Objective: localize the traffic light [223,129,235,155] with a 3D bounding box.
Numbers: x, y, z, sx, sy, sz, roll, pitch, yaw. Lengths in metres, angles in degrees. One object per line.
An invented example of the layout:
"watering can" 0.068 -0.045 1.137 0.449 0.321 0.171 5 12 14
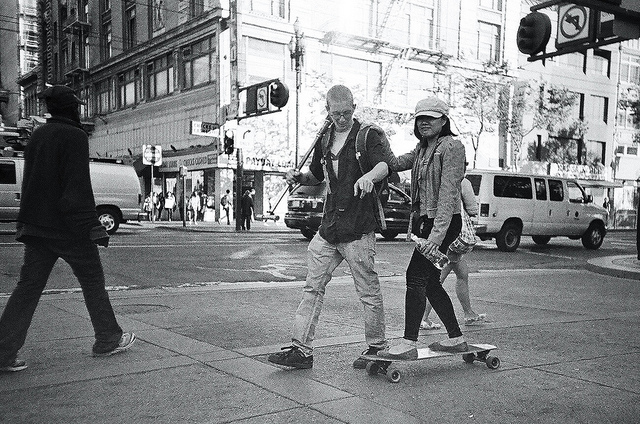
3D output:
"traffic light" -3.519 -2.729 23.414 0.268 0.913 0.464 3 3 42

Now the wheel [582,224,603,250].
"wheel" 9.118 0.806 20.288 0.824 0.844 0.298 -1 0 -36

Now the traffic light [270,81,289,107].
"traffic light" -1.516 -4.373 22.333 0.388 0.961 1.001 -1 3 -29

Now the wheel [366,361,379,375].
"wheel" 0.535 1.609 6.277 0.118 0.149 0.056 1 2 5

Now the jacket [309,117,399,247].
"jacket" 0.341 -0.326 6.445 0.978 1.374 0.613 1 2 6

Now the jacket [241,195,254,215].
"jacket" -3.132 -0.311 25.914 0.420 0.841 0.820 0 2 -19

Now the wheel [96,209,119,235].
"wheel" -5.749 0.219 16.370 0.250 0.731 0.718 -2 11 39

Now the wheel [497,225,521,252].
"wheel" 5.767 0.780 18.167 0.288 0.866 0.841 8 0 -37

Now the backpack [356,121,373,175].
"backpack" 0.468 -0.664 6.398 0.179 0.505 0.132 1 2 9

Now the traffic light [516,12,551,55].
"traffic light" 5.376 -4.533 15.292 0.791 1.040 0.369 2 3 27

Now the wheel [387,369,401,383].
"wheel" 0.738 1.654 6.110 0.099 0.101 0.040 24 -5 8

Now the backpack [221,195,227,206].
"backpack" -4.849 -0.589 30.452 0.155 0.440 0.315 15 -6 -44

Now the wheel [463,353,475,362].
"wheel" 1.630 1.579 6.624 0.126 0.129 0.065 9 7 -33
